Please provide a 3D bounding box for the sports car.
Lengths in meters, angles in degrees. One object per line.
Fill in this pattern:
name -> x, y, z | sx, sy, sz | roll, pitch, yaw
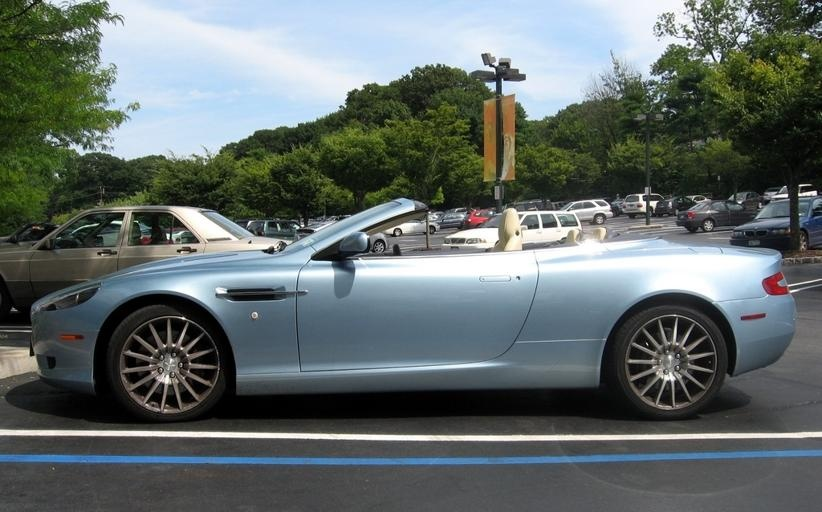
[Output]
sports car -> 0.198, 0.765, 8.340 | 6.856, 1.978, 3.078 | 2, -3, 0

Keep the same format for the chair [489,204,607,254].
chair -> 1.681, -0.274, 8.617 | 1.187, 0.565, 0.680 | 0, 0, -11

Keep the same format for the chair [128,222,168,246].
chair -> -4.419, -0.348, 11.804 | 0.536, 0.390, 0.203 | 1, -4, 5
